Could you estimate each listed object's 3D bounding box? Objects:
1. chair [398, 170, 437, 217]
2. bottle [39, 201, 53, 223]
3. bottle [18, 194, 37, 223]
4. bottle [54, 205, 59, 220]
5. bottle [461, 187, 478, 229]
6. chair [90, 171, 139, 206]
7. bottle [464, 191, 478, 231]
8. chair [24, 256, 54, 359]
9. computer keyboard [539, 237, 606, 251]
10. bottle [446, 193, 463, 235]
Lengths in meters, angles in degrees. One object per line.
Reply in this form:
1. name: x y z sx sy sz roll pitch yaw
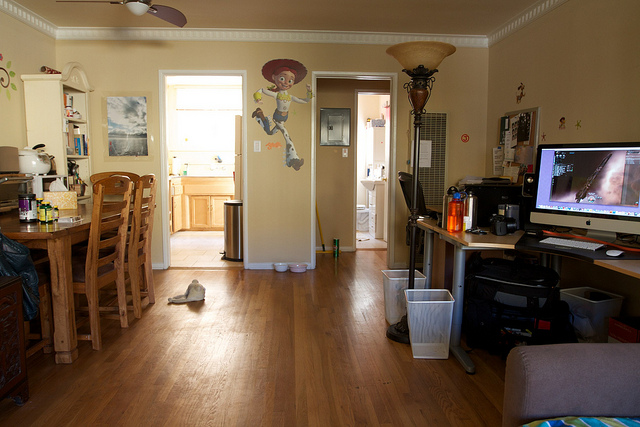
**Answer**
1. chair: 0.892 -0.151 4.177 0.340 0.436 0.913 3 10 16
2. bottle: -2.201 -0.009 3.653 0.088 0.153 0.172 -7 12 -37
3. bottle: -2.370 -0.044 3.712 0.141 0.238 0.143 0 8 0
4. bottle: -2.131 -0.001 3.689 0.020 0.095 0.144 -5 11 -24
5. bottle: 1.230 -0.051 3.762 0.114 0.276 0.371 3 10 17
6. chair: -2.010 -0.254 4.447 0.351 0.421 0.306 -7 25 -36
7. bottle: 1.204 -0.022 3.663 0.108 0.415 0.107 -6 35 4
8. chair: -2.208 0.723 3.567 0.209 0.749 0.429 -6 12 -33
9. computer keyboard: 1.785 0.219 3.232 0.397 0.030 0.202 8 12 39
10. bottle: 1.071 -0.008 3.610 0.126 0.296 0.367 3 10 16
